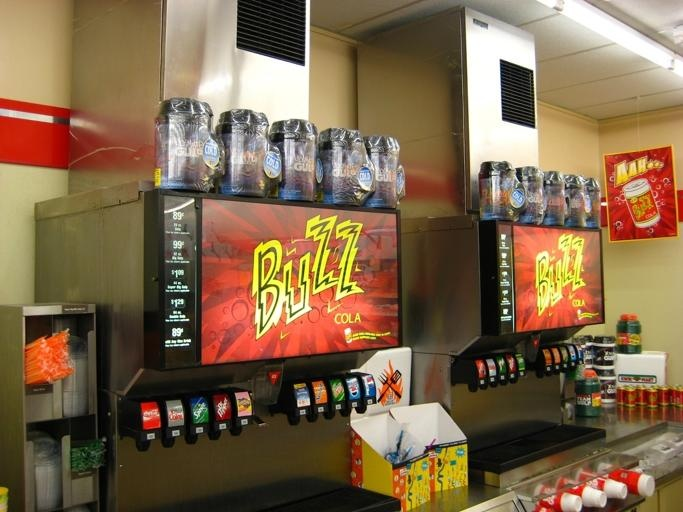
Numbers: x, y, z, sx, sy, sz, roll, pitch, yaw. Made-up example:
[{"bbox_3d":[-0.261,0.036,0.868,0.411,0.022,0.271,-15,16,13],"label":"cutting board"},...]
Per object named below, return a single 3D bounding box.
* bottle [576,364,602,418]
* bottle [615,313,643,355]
[{"bbox_3d":[1.909,1.099,4.435,0.148,0.289,0.249,-4,-3,42],"label":"bottle"},{"bbox_3d":[2.620,0.719,5.241,0.197,0.334,0.211,-2,-2,0],"label":"bottle"}]
